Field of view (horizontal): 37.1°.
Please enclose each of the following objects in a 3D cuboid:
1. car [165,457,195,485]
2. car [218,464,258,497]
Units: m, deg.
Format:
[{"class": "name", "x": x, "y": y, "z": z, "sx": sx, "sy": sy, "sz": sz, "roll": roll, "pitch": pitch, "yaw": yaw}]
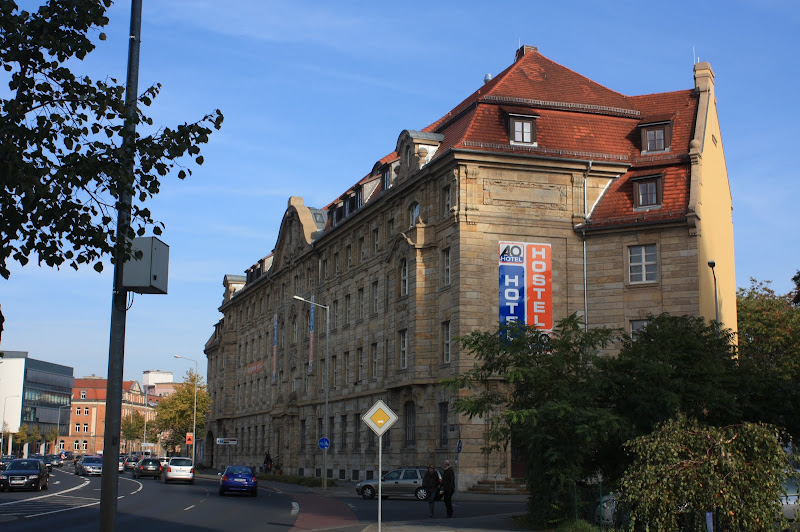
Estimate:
[{"class": "car", "x": -13.442, "y": 12.389, "z": 72.269, "sx": 1.639, "sy": 1.412, "sz": 1.283, "roll": 1, "pitch": -15, "yaw": 2}, {"class": "car", "x": -8.208, "y": 10.842, "z": 59.978, "sx": 1.744, "sy": 1.376, "sz": 1.013, "roll": -7, "pitch": -17, "yaw": 28}]
